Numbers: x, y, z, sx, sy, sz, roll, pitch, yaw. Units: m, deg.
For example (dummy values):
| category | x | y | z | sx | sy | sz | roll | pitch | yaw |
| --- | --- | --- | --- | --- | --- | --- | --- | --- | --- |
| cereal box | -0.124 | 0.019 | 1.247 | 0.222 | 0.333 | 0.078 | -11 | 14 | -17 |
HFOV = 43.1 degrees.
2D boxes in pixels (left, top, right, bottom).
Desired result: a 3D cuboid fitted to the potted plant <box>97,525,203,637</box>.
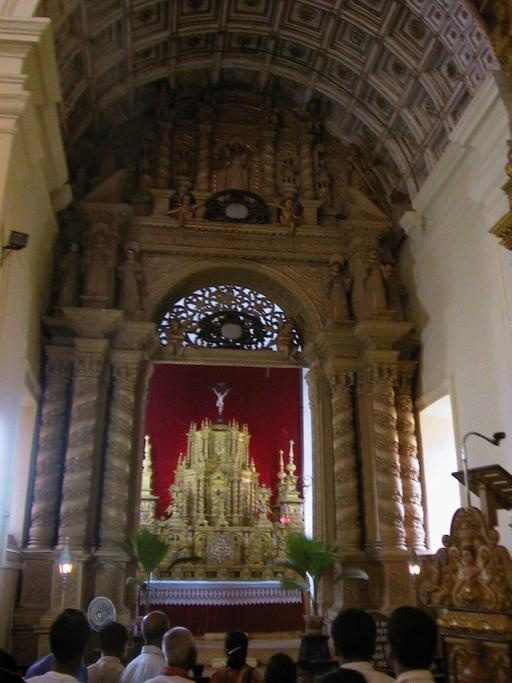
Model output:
| category | x | y | z | sx | sy | sz | roll | pitch | yaw |
| --- | --- | --- | --- | --- | --- | --- | --- | --- | --- |
| potted plant | -1.291 | 3.003 | 8.171 | 1.125 | 0.873 | 0.811 | -6 | -18 | 28 |

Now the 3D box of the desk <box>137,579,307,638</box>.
| category | x | y | z | sx | sy | sz | roll | pitch | yaw |
| --- | --- | --- | --- | --- | --- | --- | --- | --- | --- |
| desk | -0.612 | 4.720 | 11.591 | 2.806 | 0.813 | 0.832 | 1 | -16 | -4 |

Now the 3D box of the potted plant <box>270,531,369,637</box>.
| category | x | y | z | sx | sy | sz | roll | pitch | yaw |
| --- | --- | --- | --- | --- | --- | --- | --- | --- | --- |
| potted plant | 0.778 | 3.107 | 8.086 | 0.954 | 1.013 | 0.933 | 19 | -23 | -31 |

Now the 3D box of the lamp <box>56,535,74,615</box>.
| category | x | y | z | sx | sy | sz | roll | pitch | yaw |
| --- | --- | --- | --- | --- | --- | --- | --- | --- | --- |
| lamp | -2.363 | 2.858 | 7.986 | 0.193 | 0.817 | 0.510 | 6 | -23 | -14 |
